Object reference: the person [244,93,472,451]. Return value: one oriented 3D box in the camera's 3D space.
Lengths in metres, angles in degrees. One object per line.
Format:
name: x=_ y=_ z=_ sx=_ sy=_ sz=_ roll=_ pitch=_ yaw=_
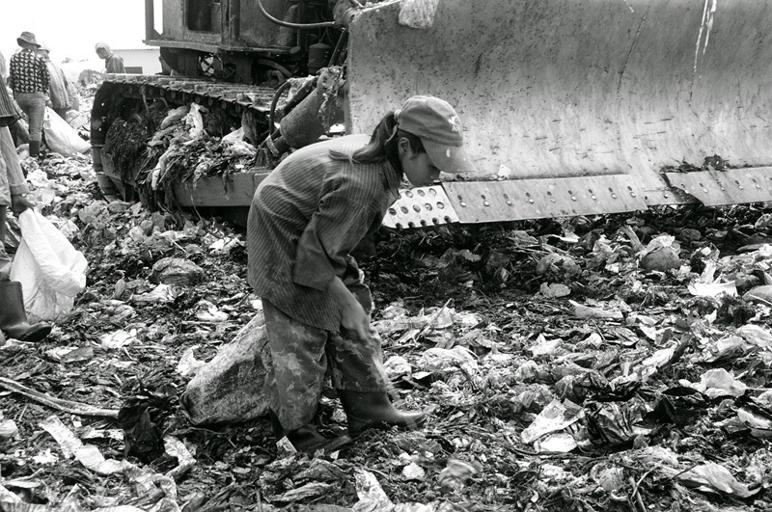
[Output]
person: x=-0.194 y=0.086 z=3.524 sx=0.981 sy=1.714 sz=0.366 roll=-1 pitch=12 yaw=-9
